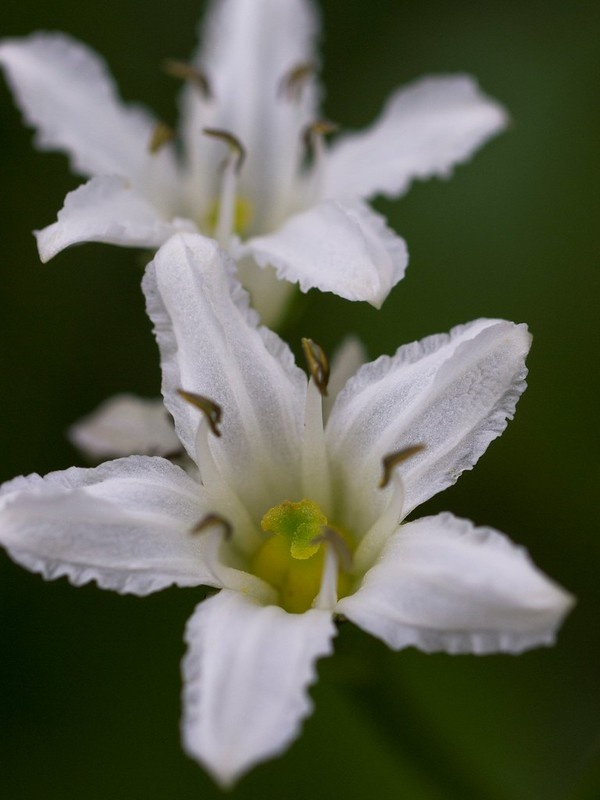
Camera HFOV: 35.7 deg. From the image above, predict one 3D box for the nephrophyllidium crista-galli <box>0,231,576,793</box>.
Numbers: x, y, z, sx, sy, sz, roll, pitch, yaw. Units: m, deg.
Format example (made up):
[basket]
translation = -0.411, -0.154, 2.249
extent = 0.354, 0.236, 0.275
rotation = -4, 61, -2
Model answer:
[nephrophyllidium crista-galli]
translation = 0.002, 0.083, 0.623
extent = 0.444, 0.163, 0.323
rotation = -4, 64, 4
